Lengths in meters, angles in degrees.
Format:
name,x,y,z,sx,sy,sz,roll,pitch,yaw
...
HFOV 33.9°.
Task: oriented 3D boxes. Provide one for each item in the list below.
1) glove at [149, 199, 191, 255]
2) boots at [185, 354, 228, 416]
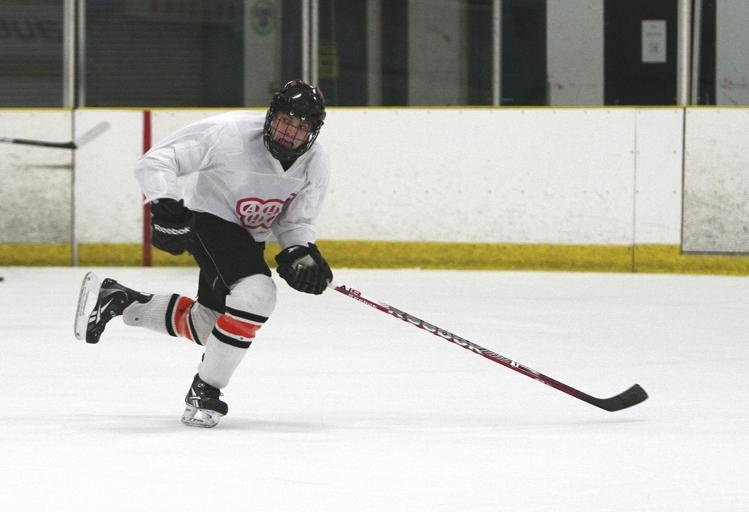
name,x,y,z,sx,sy,sz,roll,pitch,yaw
glove,-1.061,-0.151,6.123,0.261,0.260,0.219,3,5,33
boots,-0.854,0.678,6.215,0.101,0.178,0.291,1,6,-44
